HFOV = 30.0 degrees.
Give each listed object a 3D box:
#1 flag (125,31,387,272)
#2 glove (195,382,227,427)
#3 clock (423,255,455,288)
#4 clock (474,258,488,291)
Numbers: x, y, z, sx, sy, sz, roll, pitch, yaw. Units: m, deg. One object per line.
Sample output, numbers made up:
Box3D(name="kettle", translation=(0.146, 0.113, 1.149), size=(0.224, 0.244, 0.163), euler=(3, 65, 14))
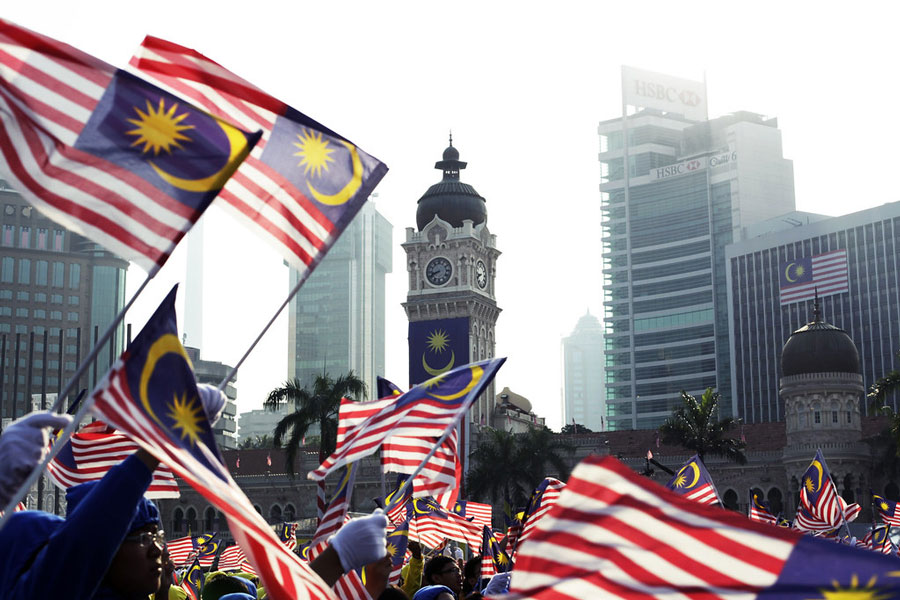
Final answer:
Box3D(name="flag", translation=(-2.305, -1.585, 18.517), size=(0.389, 2.781, 4.069), euler=(16, 21, 37))
Box3D(name="glove", translation=(-2.195, 0.962, 15.755), size=(0.311, 0.363, 0.379), euler=(3, -17, -6))
Box3D(name="clock", translation=(-0.597, -1.645, 97.732), size=(2.102, 2.367, 0.189), euler=(-1, -30, 3))
Box3D(name="clock", translation=(1.764, -1.501, 99.411), size=(0.089, 1.674, 1.708), euler=(-4, -11, 21))
